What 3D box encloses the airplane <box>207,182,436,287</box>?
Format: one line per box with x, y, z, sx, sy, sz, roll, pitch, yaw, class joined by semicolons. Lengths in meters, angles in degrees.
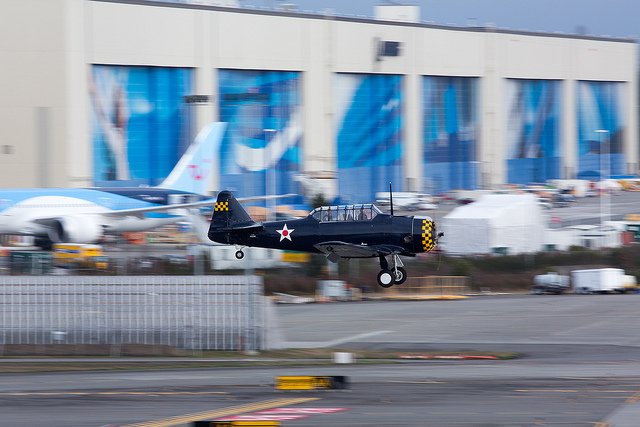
0.031;1.281;114.612;17.151;4.852;15.192;2;28;-4;airplane

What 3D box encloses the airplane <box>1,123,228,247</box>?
-15.434;-2.579;126.590;10.303;10.002;20.067;-2;1;40;airplane

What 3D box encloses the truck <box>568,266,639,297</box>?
22.018;5.421;120.062;4.295;1.364;2.777;1;1;29;truck
